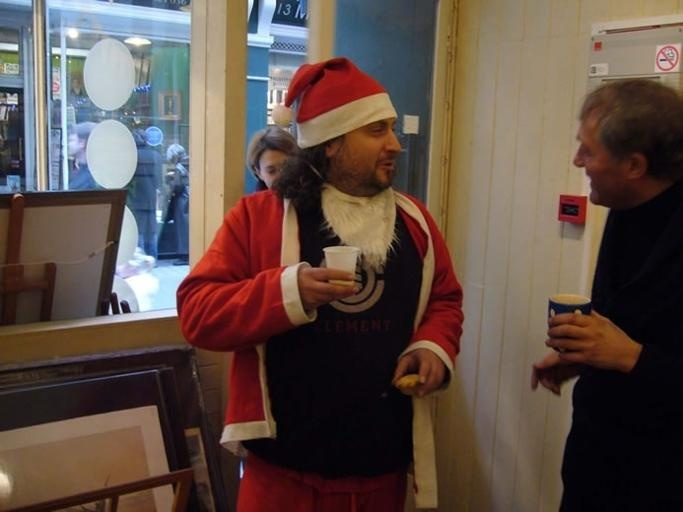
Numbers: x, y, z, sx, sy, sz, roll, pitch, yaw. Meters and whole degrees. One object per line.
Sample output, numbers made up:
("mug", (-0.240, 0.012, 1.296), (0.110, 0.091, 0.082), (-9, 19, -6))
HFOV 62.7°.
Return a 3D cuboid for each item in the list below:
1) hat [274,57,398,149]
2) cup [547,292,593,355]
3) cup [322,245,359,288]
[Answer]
("hat", (-0.020, -0.545, 2.073), (0.454, 0.379, 0.346), (-7, 5, -4))
("cup", (0.687, 0.206, 1.677), (0.177, 0.149, 0.196), (0, -2, 9))
("cup", (-0.004, 0.013, 1.735), (0.119, 0.117, 0.137), (-8, -25, 12))
